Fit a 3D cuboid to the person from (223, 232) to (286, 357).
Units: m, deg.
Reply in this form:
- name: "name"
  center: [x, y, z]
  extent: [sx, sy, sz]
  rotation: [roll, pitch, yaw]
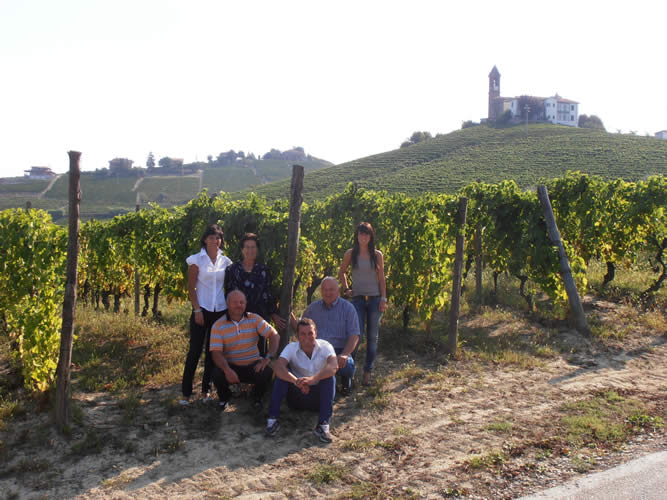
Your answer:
- name: "person"
  center: [-1.218, 0.962, 8.966]
  extent: [0.909, 2.388, 0.534]
  rotation: [6, -18, -22]

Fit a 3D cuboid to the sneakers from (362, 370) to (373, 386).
- name: "sneakers"
  center: [0.512, 1.964, 9.680]
  extent: [0.156, 0.315, 0.166]
  rotation: [-8, -17, 41]

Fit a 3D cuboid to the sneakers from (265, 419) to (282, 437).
- name: "sneakers"
  center: [-0.824, 2.374, 8.441]
  extent: [0.210, 0.216, 0.143]
  rotation: [-3, 2, -22]

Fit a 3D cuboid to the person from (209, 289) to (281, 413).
- name: "person"
  center: [-1.279, 1.418, 8.941]
  extent: [0.947, 1.732, 0.766]
  rotation: [-1, 2, -21]

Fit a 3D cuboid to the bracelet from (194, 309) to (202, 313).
- name: "bracelet"
  center: [-1.910, 0.848, 8.824]
  extent: [0.109, 0.041, 0.075]
  rotation: [-3, 2, -13]

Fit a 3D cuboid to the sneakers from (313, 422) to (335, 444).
- name: "sneakers"
  center: [-0.131, 2.435, 8.324]
  extent: [0.350, 0.302, 0.120]
  rotation: [7, 4, 44]

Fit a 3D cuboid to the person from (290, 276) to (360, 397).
- name: "person"
  center: [-0.051, 1.307, 9.265]
  extent: [0.780, 1.734, 0.866]
  rotation: [2, 16, 12]

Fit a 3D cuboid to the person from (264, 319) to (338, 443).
- name: "person"
  center: [-0.337, 1.711, 8.740]
  extent: [0.905, 1.600, 1.474]
  rotation: [1, -2, 16]
